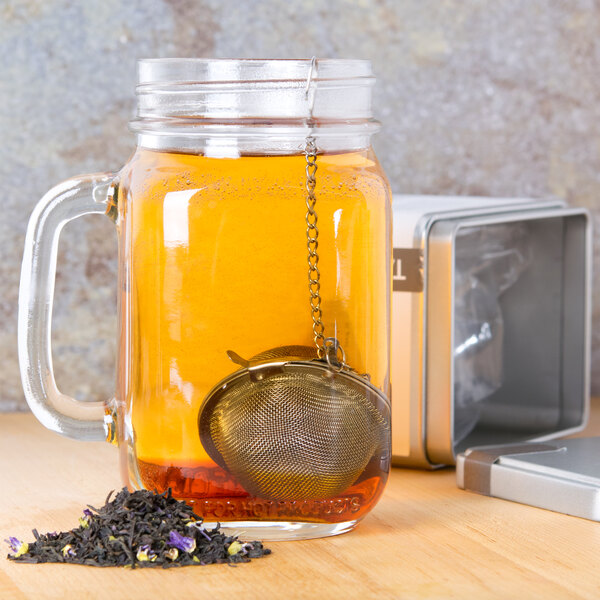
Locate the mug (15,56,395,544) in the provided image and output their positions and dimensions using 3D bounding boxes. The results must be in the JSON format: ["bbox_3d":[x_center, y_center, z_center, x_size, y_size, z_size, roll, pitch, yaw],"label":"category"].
[{"bbox_3d":[-0.045,-0.002,0.516,0.280,0.153,0.245,-1,94,13],"label":"mug"}]

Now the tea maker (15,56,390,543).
[{"bbox_3d":[-0.040,-0.001,0.520,0.300,0.163,0.262,1,96,12],"label":"tea maker"}]

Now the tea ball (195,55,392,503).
[{"bbox_3d":[-0.005,-0.014,0.451,0.107,0.107,0.245,-3,73,-3],"label":"tea ball"}]

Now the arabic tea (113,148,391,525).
[{"bbox_3d":[-0.030,0.006,0.520,0.220,0.154,0.188,0,99,-10],"label":"arabic tea"}]
